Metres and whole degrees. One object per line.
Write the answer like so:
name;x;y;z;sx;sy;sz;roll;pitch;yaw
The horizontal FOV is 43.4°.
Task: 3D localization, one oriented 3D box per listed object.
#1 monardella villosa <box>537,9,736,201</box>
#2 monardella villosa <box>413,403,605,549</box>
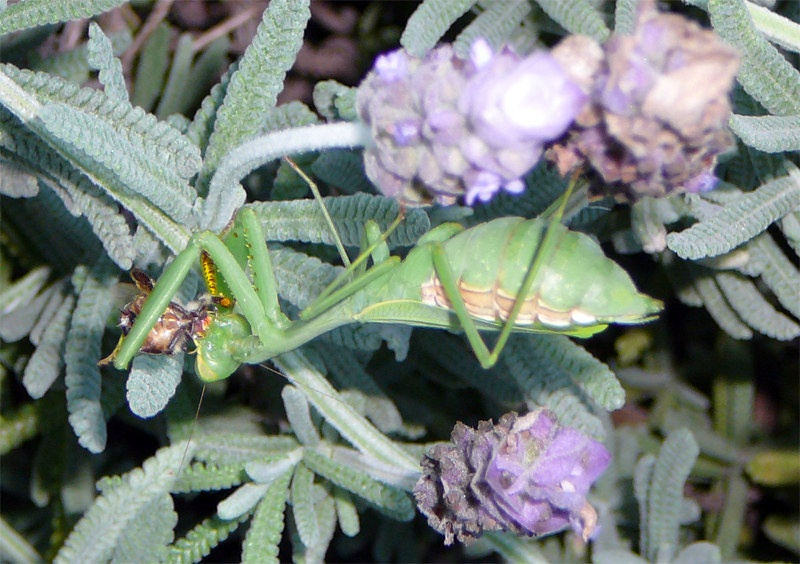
monardella villosa;0.362;-0.280;1.551;0.281;0.234;0.170;20;45;5
monardella villosa;0.204;0.352;1.771;0.363;0.177;0.260;-18;14;18
